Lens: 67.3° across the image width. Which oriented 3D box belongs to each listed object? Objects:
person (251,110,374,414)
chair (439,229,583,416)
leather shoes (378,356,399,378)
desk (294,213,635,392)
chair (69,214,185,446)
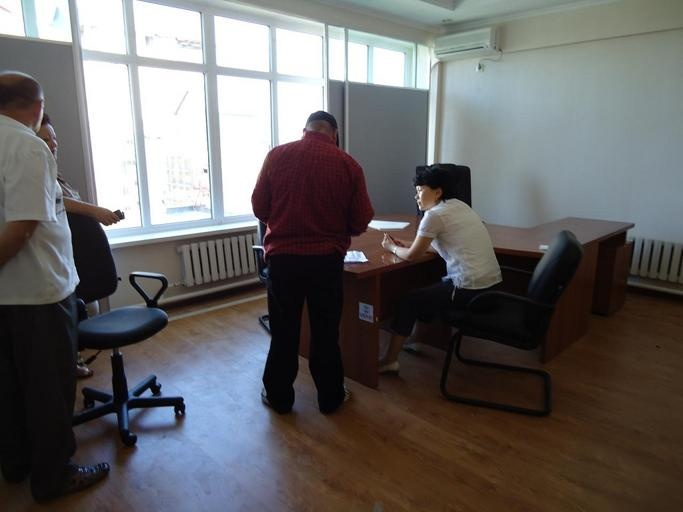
[{"bbox_3d":[-0.181,0.092,3.271,0.756,1.925,0.284,-6,14,-12],"label":"person"},{"bbox_3d":[1.276,0.394,4.067,1.060,1.710,1.072,4,10,24],"label":"chair"},{"bbox_3d":[0.328,0.828,3.826,0.213,0.106,0.081,9,10,27],"label":"leather shoes"},{"bbox_3d":[1.005,0.274,3.999,1.719,0.765,1.750,14,25,40],"label":"desk"},{"bbox_3d":[-1.468,0.418,3.323,0.725,1.368,0.695,5,11,24],"label":"chair"}]
